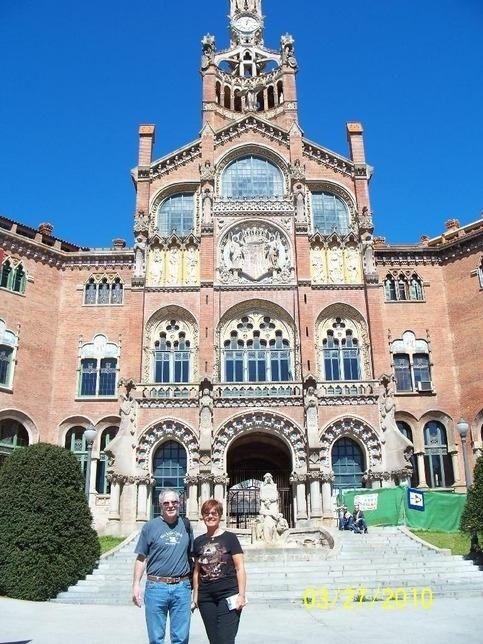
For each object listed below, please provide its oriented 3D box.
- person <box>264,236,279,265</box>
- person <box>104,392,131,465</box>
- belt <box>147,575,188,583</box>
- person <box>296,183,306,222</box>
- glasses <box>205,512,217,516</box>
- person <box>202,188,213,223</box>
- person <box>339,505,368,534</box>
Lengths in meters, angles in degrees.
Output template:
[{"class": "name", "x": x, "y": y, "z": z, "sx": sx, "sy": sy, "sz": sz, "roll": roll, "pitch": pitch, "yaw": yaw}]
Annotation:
[{"class": "person", "x": 1.942, "y": -4.430, "z": 34.599, "sx": 0.912, "sy": 1.993, "sz": 0.415, "roll": 5, "pitch": -13, "yaw": 4}, {"class": "person", "x": -6.397, "y": 5.982, "z": 28.901, "sx": 0.899, "sy": 4.001, "sz": 1.585, "roll": 3, "pitch": -13, "yaw": 15}, {"class": "belt", "x": -0.623, "y": 2.224, "z": 4.670, "sx": 0.356, "sy": 0.059, "sz": 0.129, "roll": 8, "pitch": -13, "yaw": -11}, {"class": "person", "x": 3.831, "y": -7.668, "z": 34.952, "sx": 0.792, "sy": 2.900, "sz": 0.487, "roll": 6, "pitch": -13, "yaw": 3}, {"class": "glasses", "x": -0.248, "y": 1.640, "z": 4.596, "sx": 0.097, "sy": 0.035, "sz": 0.046, "roll": 9, "pitch": -13, "yaw": -16}, {"class": "person", "x": -2.198, "y": -7.543, "z": 35.038, "sx": 0.802, "sy": 2.482, "sz": 0.436, "roll": 8, "pitch": -13, "yaw": -7}, {"class": "person", "x": 4.947, "y": 8.715, "z": 23.699, "sx": 0.881, "sy": 0.945, "sz": 1.560, "roll": -12, "pitch": 0, "yaw": 11}]
